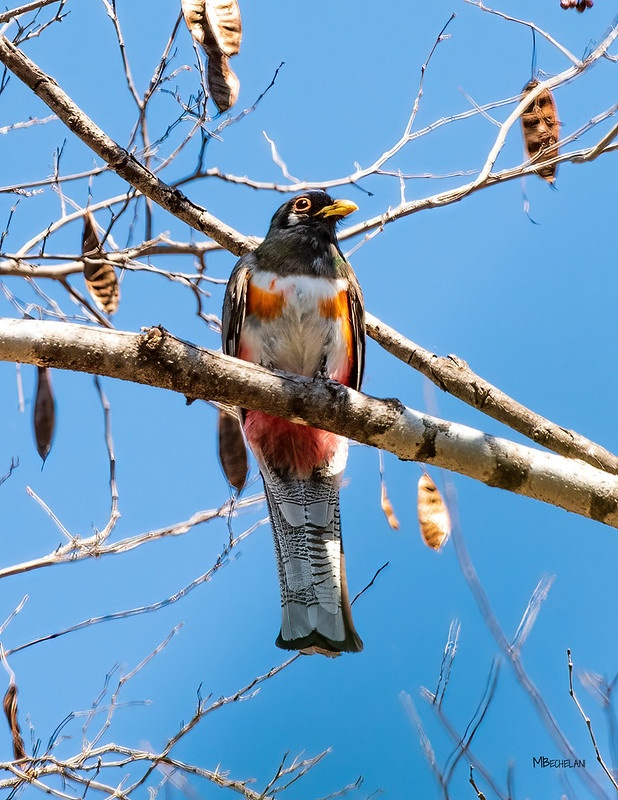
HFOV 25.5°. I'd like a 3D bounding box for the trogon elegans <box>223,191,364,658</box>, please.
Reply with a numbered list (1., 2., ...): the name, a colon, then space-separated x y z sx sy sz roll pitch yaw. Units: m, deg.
1. trogon elegans: -0.055 0.059 6.674 0.610 0.883 2.402 1 -87 -5
